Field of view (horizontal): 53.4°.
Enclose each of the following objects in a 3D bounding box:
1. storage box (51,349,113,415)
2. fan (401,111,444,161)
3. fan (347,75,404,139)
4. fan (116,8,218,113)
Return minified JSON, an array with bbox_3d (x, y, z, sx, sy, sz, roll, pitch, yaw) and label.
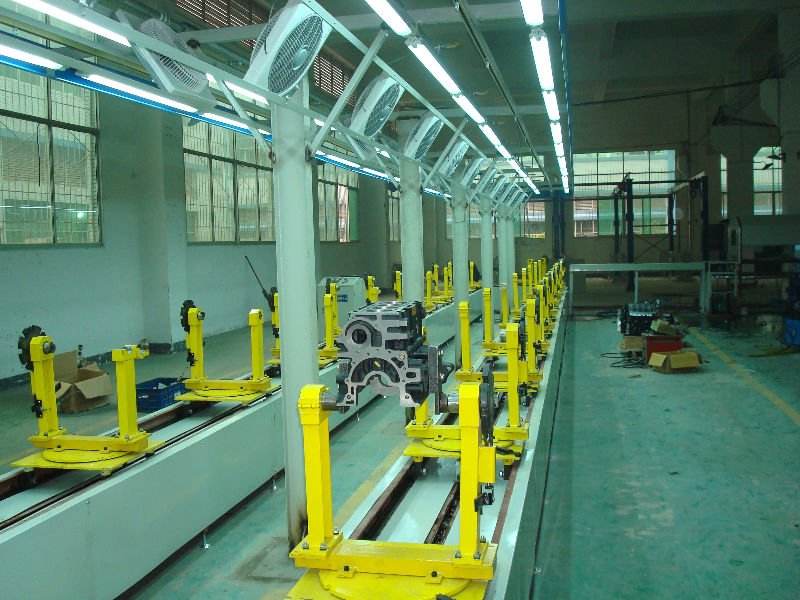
[{"bbox_3d":[-4.595,1.136,11.282,0.693,0.630,0.930,8,11,12],"label":"storage box"},{"bbox_3d":[0.329,-2.556,12.262,0.334,0.241,1.054,28,13,8],"label":"fan"},{"bbox_3d":[-0.247,-2.274,9.386,0.507,0.714,0.880,5,14,22],"label":"fan"},{"bbox_3d":[-2.249,-2.304,7.752,0.589,0.912,1.003,8,15,34],"label":"fan"}]
